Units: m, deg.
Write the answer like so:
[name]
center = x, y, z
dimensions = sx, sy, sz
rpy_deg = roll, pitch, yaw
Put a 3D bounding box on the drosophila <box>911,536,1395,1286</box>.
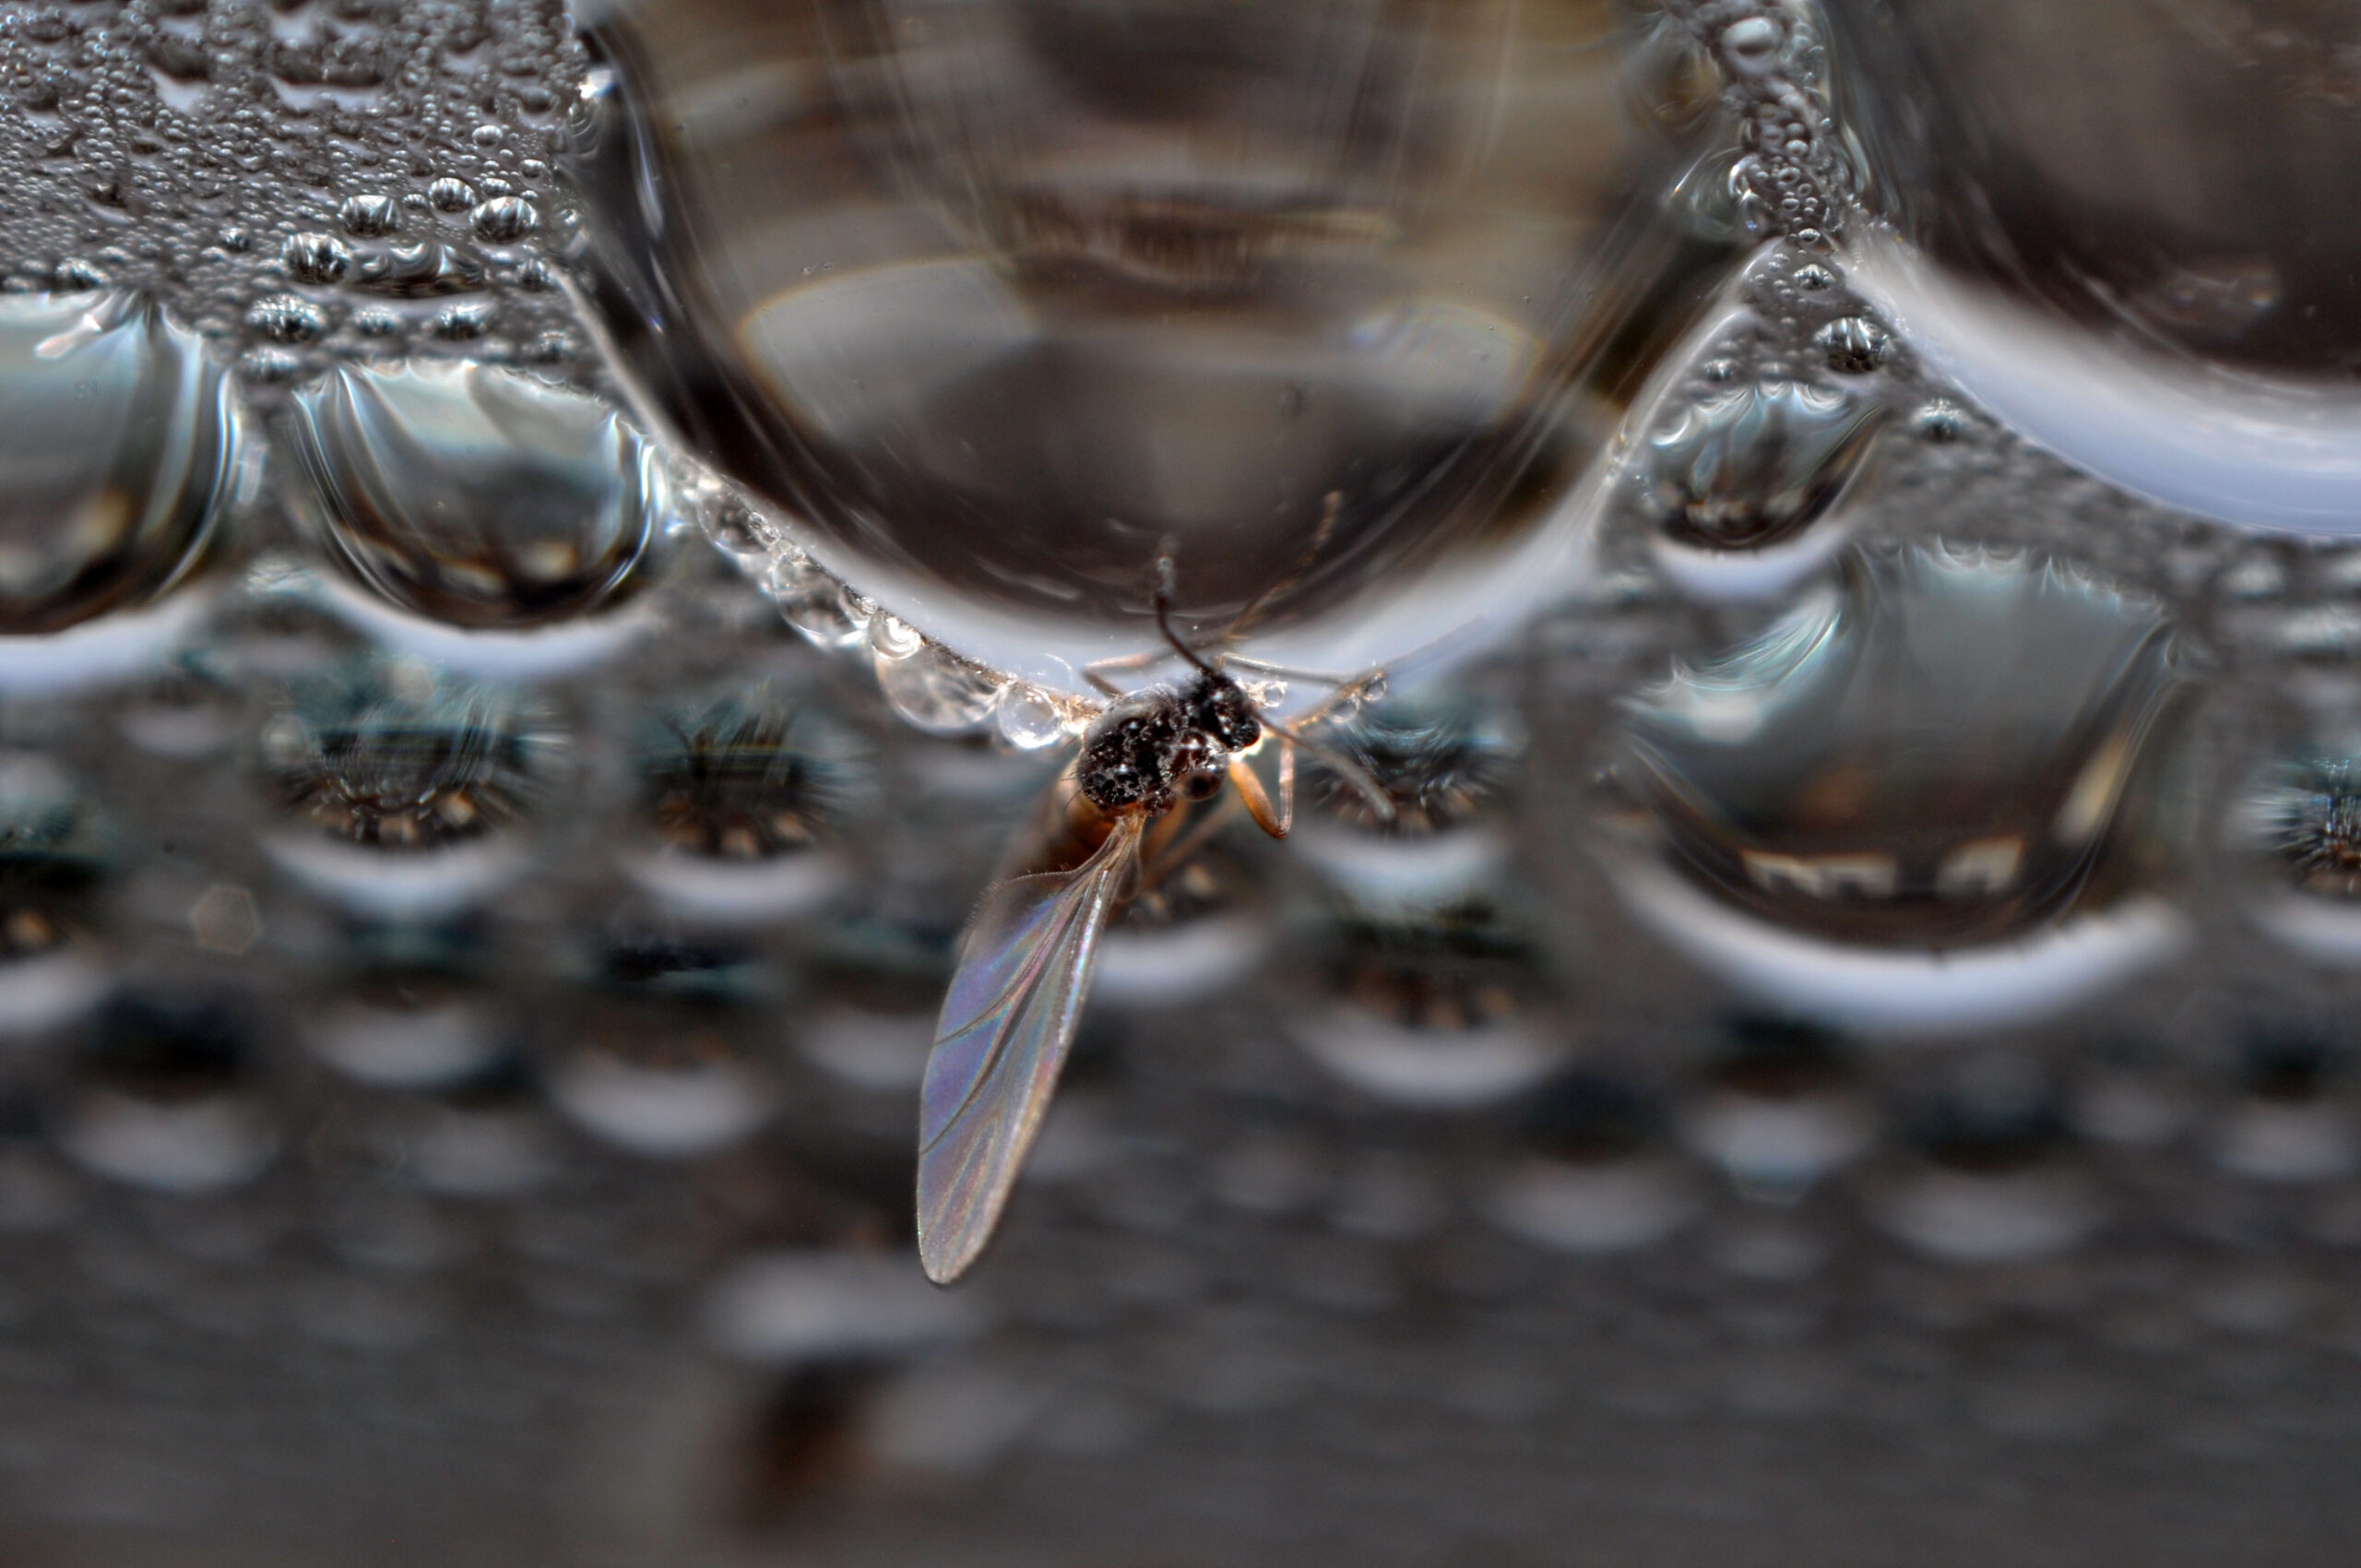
[drosophila]
center = -0.026, 0.046, 0.680
dimensions = 0.198, 0.062, 0.148
rpy_deg = -52, 44, 6
